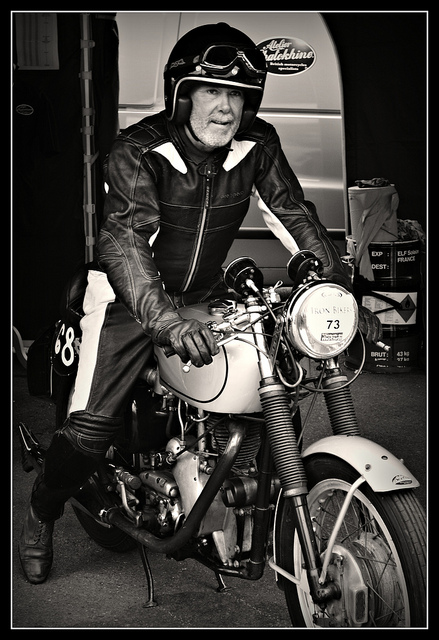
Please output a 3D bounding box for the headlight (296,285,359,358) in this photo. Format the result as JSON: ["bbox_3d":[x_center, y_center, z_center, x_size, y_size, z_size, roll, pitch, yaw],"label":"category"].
[{"bbox_3d":[0.239,-0.018,1.369,0.156,0.168,0.134,-7,16,-27],"label":"headlight"}]
